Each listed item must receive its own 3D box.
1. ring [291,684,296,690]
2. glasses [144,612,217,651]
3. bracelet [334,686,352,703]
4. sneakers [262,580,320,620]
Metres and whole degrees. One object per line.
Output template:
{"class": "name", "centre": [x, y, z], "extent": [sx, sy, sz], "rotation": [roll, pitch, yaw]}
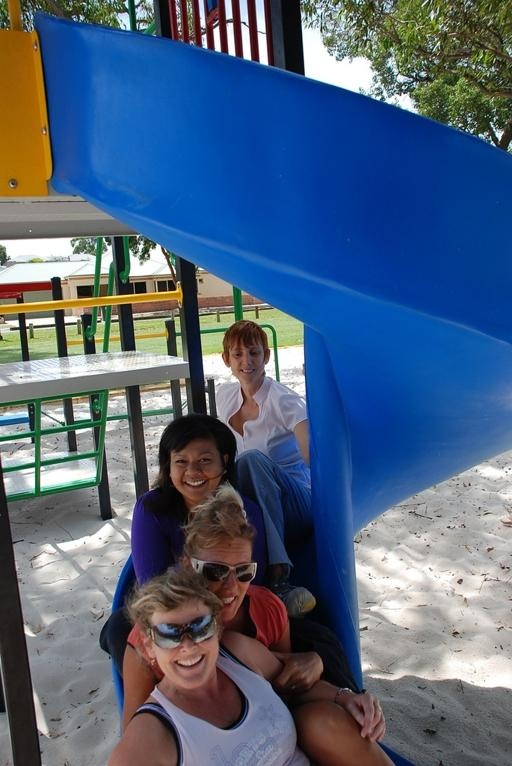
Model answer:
{"class": "ring", "centre": [0.088, 0.700, 1.305], "extent": [0.009, 0.003, 0.009], "rotation": [1, -9, 0]}
{"class": "glasses", "centre": [-0.138, 0.472, 1.072], "extent": [0.120, 0.046, 0.034], "rotation": [-5, 5, -10]}
{"class": "bracelet", "centre": [0.200, 0.718, 1.303], "extent": [0.036, 0.019, 0.048], "rotation": [-21, 4, 11]}
{"class": "sneakers", "centre": [0.102, 0.593, 1.597], "extent": [0.082, 0.063, 0.137], "rotation": [-7, 25, -39]}
